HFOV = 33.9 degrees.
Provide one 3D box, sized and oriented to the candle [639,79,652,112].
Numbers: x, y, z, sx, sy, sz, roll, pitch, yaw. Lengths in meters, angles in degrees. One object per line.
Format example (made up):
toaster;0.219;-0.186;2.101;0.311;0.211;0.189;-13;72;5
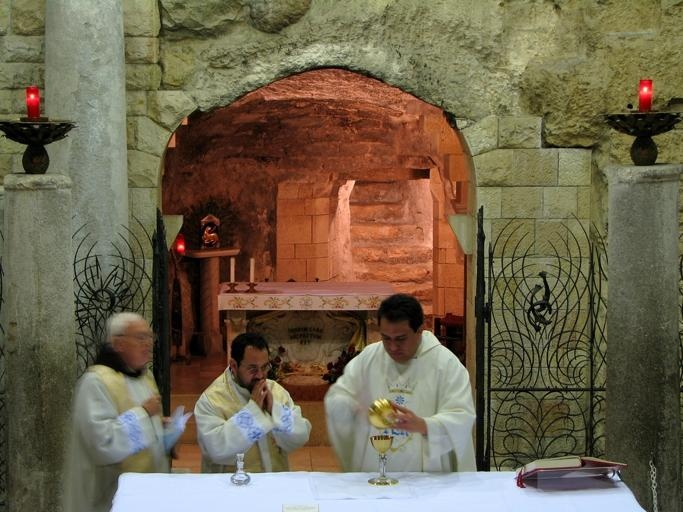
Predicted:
candle;1.878;-0.971;6.936;0.074;0.219;0.188;-3;-4;21

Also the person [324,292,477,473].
person;0.331;0.760;6.611;0.892;1.052;0.529;-2;-4;3

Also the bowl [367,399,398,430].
bowl;0.229;0.884;6.309;0.147;0.159;0.127;-2;-4;2

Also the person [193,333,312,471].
person;-0.557;0.898;6.873;0.627;0.858;0.515;2;-5;-42

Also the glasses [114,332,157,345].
glasses;-1.253;0.497;6.748;0.213;0.063;0.203;0;1;1

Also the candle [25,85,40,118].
candle;-1.927;-0.945;7.012;0.071;0.257;0.290;0;-4;-15
